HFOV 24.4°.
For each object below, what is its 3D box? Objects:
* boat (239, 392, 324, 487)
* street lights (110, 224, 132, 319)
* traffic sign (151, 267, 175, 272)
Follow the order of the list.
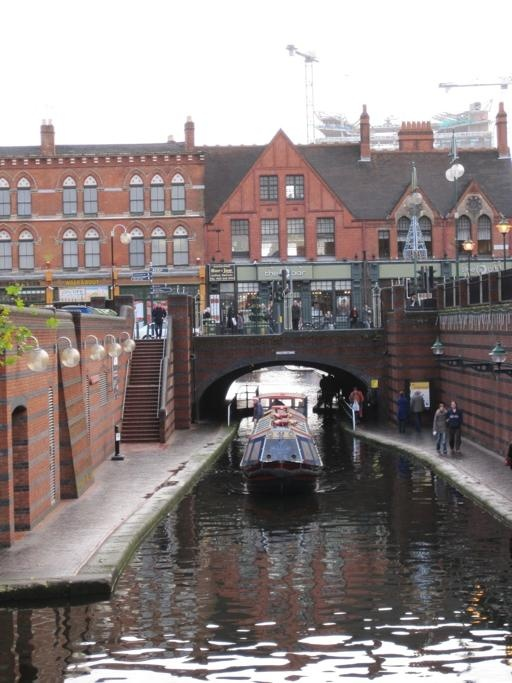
[{"bbox_3d":[0.788,3.162,37.514,1.975,2.150,7.977,0,1,2],"label":"boat"},{"bbox_3d":[-6.124,-3.102,53.272,0.705,5.424,0.818,0,1,-33],"label":"street lights"},{"bbox_3d":[-4.822,-3.630,60.807,1.119,0.273,0.431,1,5,0],"label":"traffic sign"}]
